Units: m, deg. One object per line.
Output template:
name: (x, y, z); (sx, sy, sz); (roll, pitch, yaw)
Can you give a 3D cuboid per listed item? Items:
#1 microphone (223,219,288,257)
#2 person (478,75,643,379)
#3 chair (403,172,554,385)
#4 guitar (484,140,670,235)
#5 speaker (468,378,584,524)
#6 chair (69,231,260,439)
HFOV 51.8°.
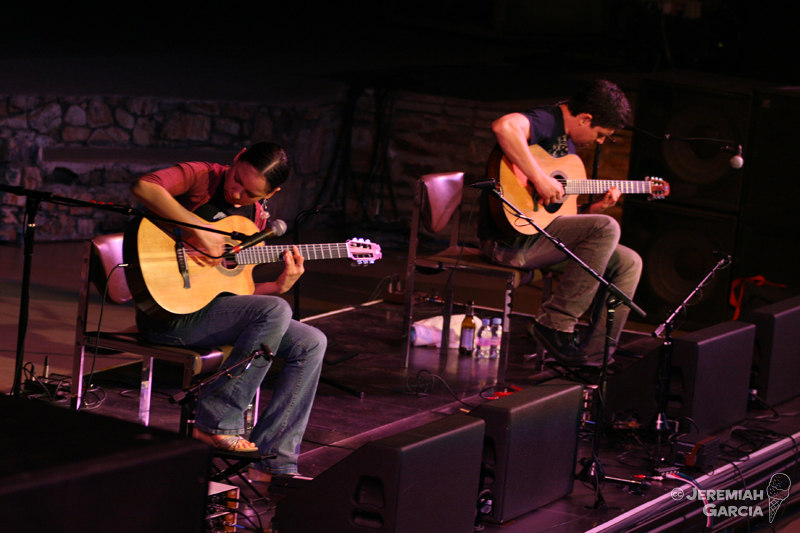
microphone: (-0.657, -0.127, 3.684); (0.230, 0.179, 0.345); (2, 1, -17)
person: (0.934, -0.233, 5.186); (0.962, 1.833, 0.285); (-3, -4, -35)
chair: (0.512, 0.026, 5.553); (0.994, 1.218, 0.889); (3, 13, -2)
guitar: (1.188, -0.506, 5.070); (0.194, 0.531, 1.279); (-11, 7, -37)
speaker: (0.558, 0.822, 3.564); (0.615, 0.461, 0.197); (-6, 13, -44)
chair: (-1.228, 0.335, 3.991); (0.646, 0.808, 0.555); (16, 18, 11)
